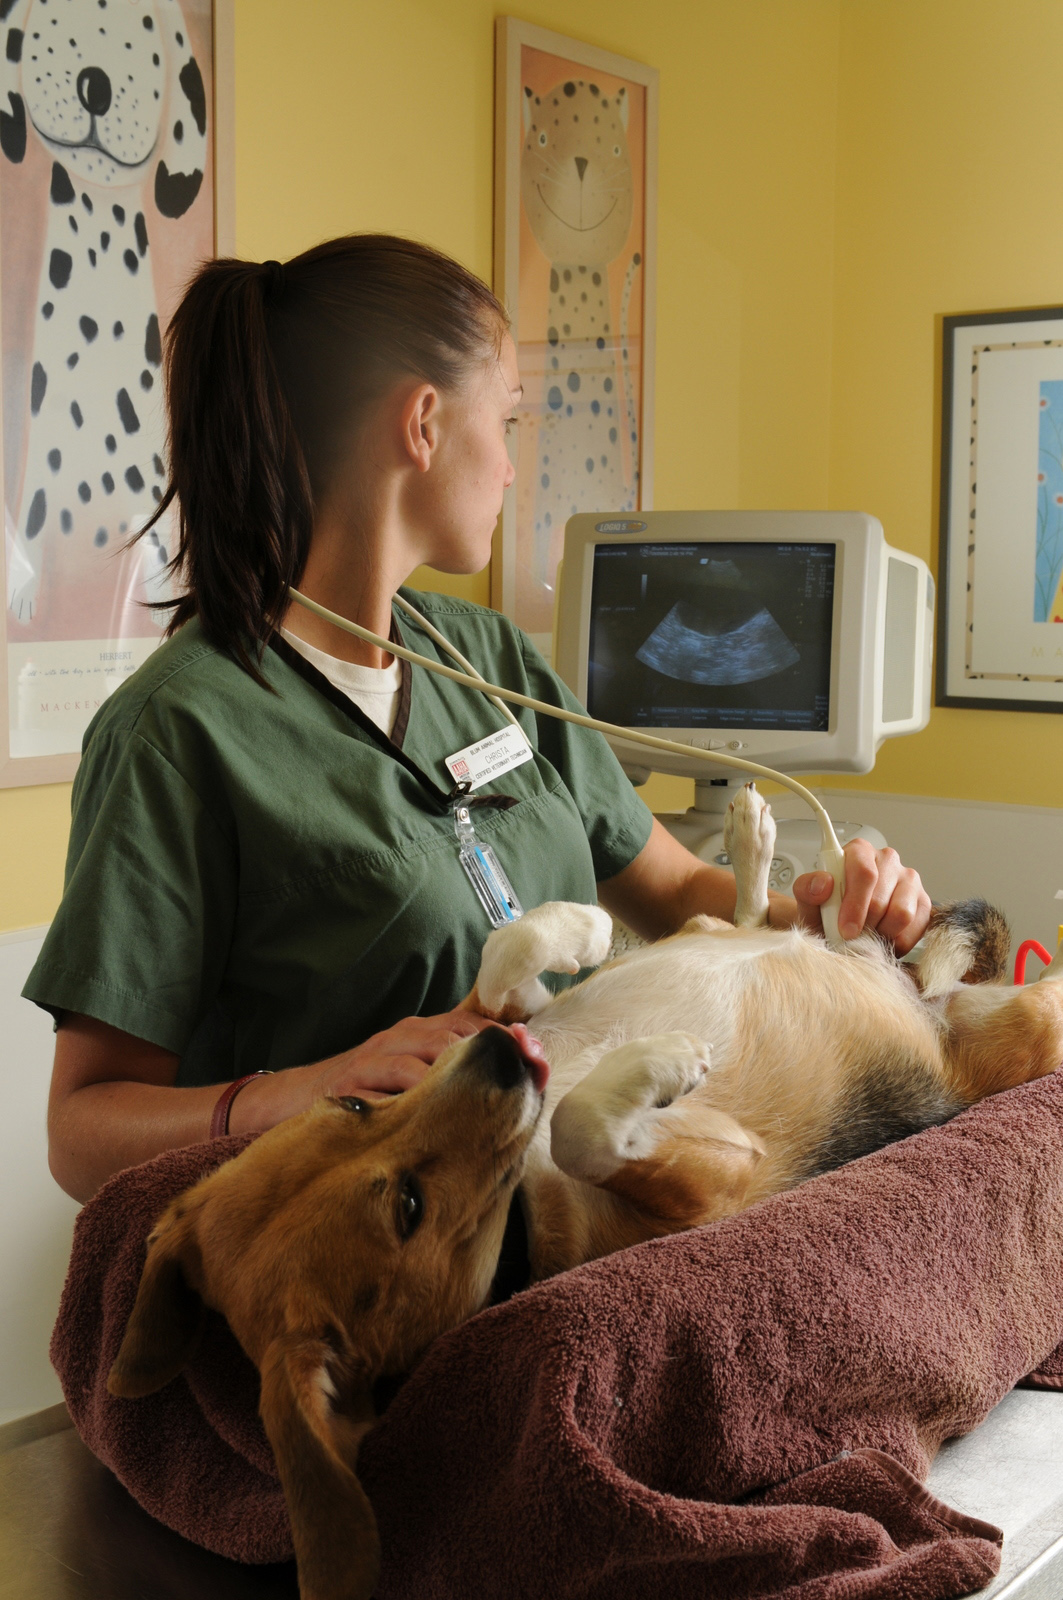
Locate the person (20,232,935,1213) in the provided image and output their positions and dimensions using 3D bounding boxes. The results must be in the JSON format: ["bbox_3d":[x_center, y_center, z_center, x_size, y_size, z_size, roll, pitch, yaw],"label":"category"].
[{"bbox_3d":[-0.068,0.044,0.812,0.494,0.767,0.326,-1,5,-31],"label":"person"}]

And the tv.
[{"bbox_3d":[0.291,-0.237,1.751,0.538,0.489,0.331,3,5,17],"label":"tv"}]
